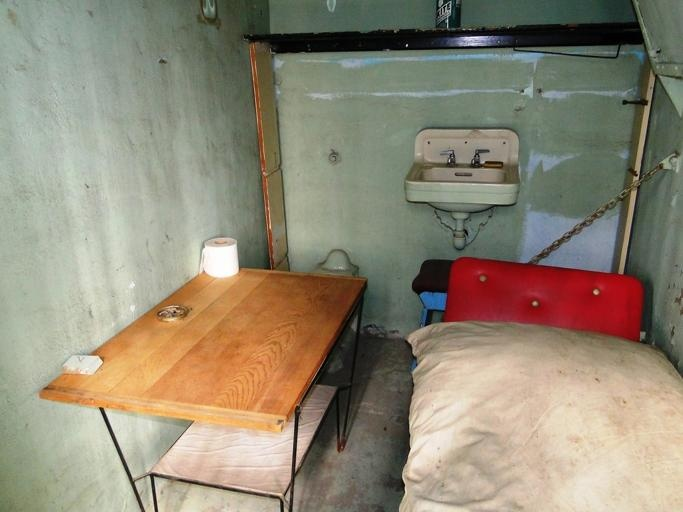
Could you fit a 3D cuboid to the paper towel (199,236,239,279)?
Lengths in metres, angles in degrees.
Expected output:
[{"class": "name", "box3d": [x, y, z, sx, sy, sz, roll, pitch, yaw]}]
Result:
[{"class": "paper towel", "box3d": [-0.626, 0.010, 2.800, 0.192, 0.155, 0.188, -10, 19, -40]}]

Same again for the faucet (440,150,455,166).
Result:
[{"class": "faucet", "box3d": [0.637, -0.596, 3.293, 0.086, 0.092, 0.111, 3, 19, 9]}]

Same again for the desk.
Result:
[{"class": "desk", "box3d": [-0.428, 0.391, 2.309, 0.958, 0.975, 1.283, 5, 24, 12]}]

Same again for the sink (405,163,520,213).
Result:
[{"class": "sink", "box3d": [0.678, -0.379, 3.124, 0.603, 0.231, 0.438, 5, 19, 15]}]
